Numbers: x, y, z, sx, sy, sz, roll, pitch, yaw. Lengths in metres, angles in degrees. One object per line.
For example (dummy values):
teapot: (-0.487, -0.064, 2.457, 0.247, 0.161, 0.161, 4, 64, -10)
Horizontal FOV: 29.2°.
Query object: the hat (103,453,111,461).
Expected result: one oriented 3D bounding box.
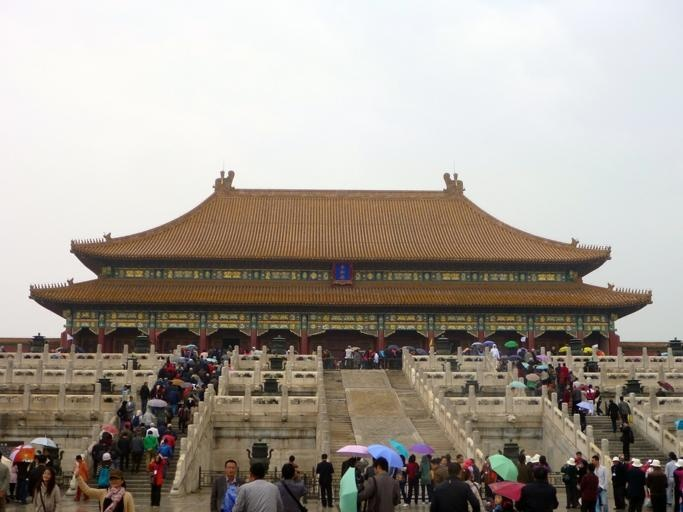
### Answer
hat: (-6.867, 5.880, 38.514, 0.326, 0.213, 0.370, 1, -9, -12)
